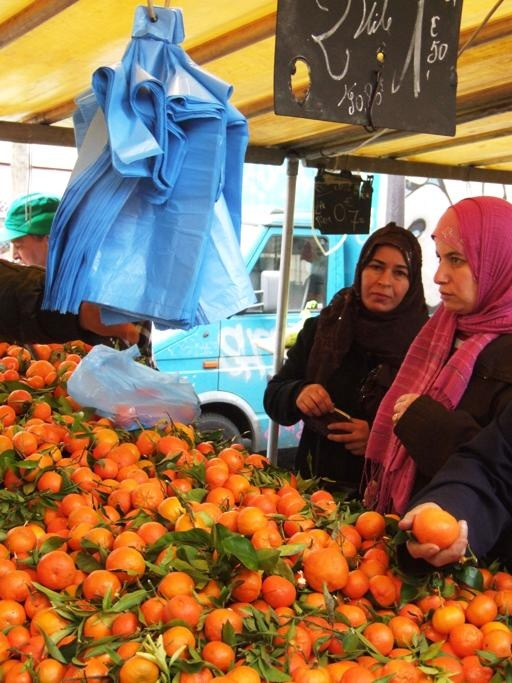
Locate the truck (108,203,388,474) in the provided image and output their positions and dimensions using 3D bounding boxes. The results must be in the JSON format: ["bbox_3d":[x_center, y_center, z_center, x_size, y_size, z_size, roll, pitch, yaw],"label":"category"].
[{"bbox_3d":[-0.057,-0.146,6.135,3.151,2.490,2.191,3,-1,-17],"label":"truck"}]
